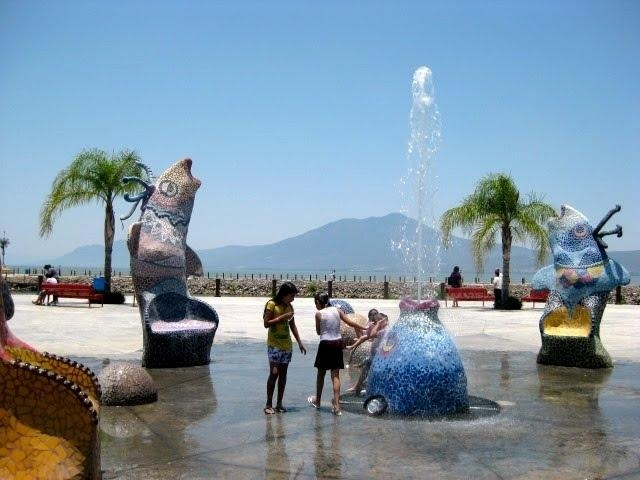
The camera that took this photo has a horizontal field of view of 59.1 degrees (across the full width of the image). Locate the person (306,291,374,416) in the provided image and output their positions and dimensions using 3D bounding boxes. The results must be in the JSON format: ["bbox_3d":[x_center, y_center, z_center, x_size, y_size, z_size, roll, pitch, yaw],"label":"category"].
[{"bbox_3d":[0.206,1.482,8.014,0.746,1.529,1.836,-1,-2,4],"label":"person"}]

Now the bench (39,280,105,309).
[{"bbox_3d":[-9.632,2.089,21.971,2.129,0.963,3.668,0,-2,-25],"label":"bench"}]

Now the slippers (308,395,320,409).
[{"bbox_3d":[-0.085,2.180,7.585,0.078,0.082,0.200,3,38,-46],"label":"slippers"}]

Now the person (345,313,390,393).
[{"bbox_3d":[0.689,1.570,8.109,0.578,1.322,0.460,22,-33,-22],"label":"person"}]

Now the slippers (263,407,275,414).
[{"bbox_3d":[-0.644,2.169,7.213,0.131,0.069,0.173,-1,-2,-7],"label":"slippers"}]

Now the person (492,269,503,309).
[{"bbox_3d":[7.920,2.128,25.009,0.372,1.600,2.361,-2,-2,17],"label":"person"}]

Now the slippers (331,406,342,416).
[{"bbox_3d":[0.220,2.141,7.168,0.119,0.131,0.194,-1,-2,2],"label":"slippers"}]

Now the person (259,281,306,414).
[{"bbox_3d":[-0.473,1.386,7.334,0.519,1.644,0.535,-1,-2,-7],"label":"person"}]
